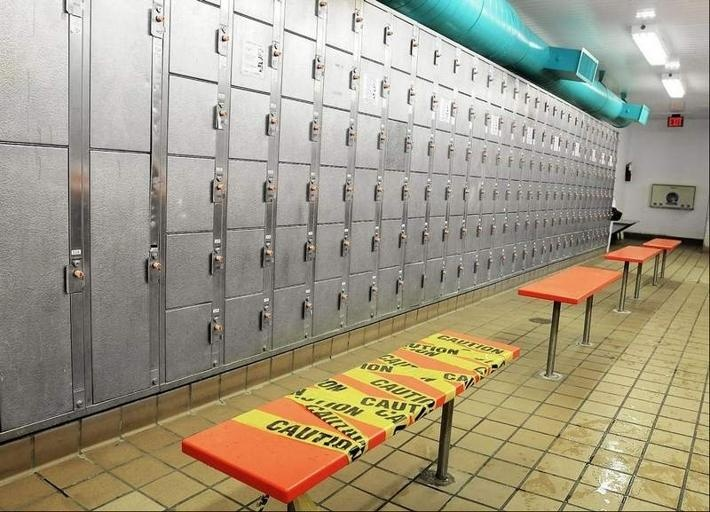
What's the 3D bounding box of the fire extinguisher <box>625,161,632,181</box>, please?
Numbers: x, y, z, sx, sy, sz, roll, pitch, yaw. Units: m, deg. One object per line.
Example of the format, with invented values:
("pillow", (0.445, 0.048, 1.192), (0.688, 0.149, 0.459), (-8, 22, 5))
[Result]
("fire extinguisher", (10.395, -3.246, 17.379), (0.268, 0.742, 0.177), (10, 15, 26))
